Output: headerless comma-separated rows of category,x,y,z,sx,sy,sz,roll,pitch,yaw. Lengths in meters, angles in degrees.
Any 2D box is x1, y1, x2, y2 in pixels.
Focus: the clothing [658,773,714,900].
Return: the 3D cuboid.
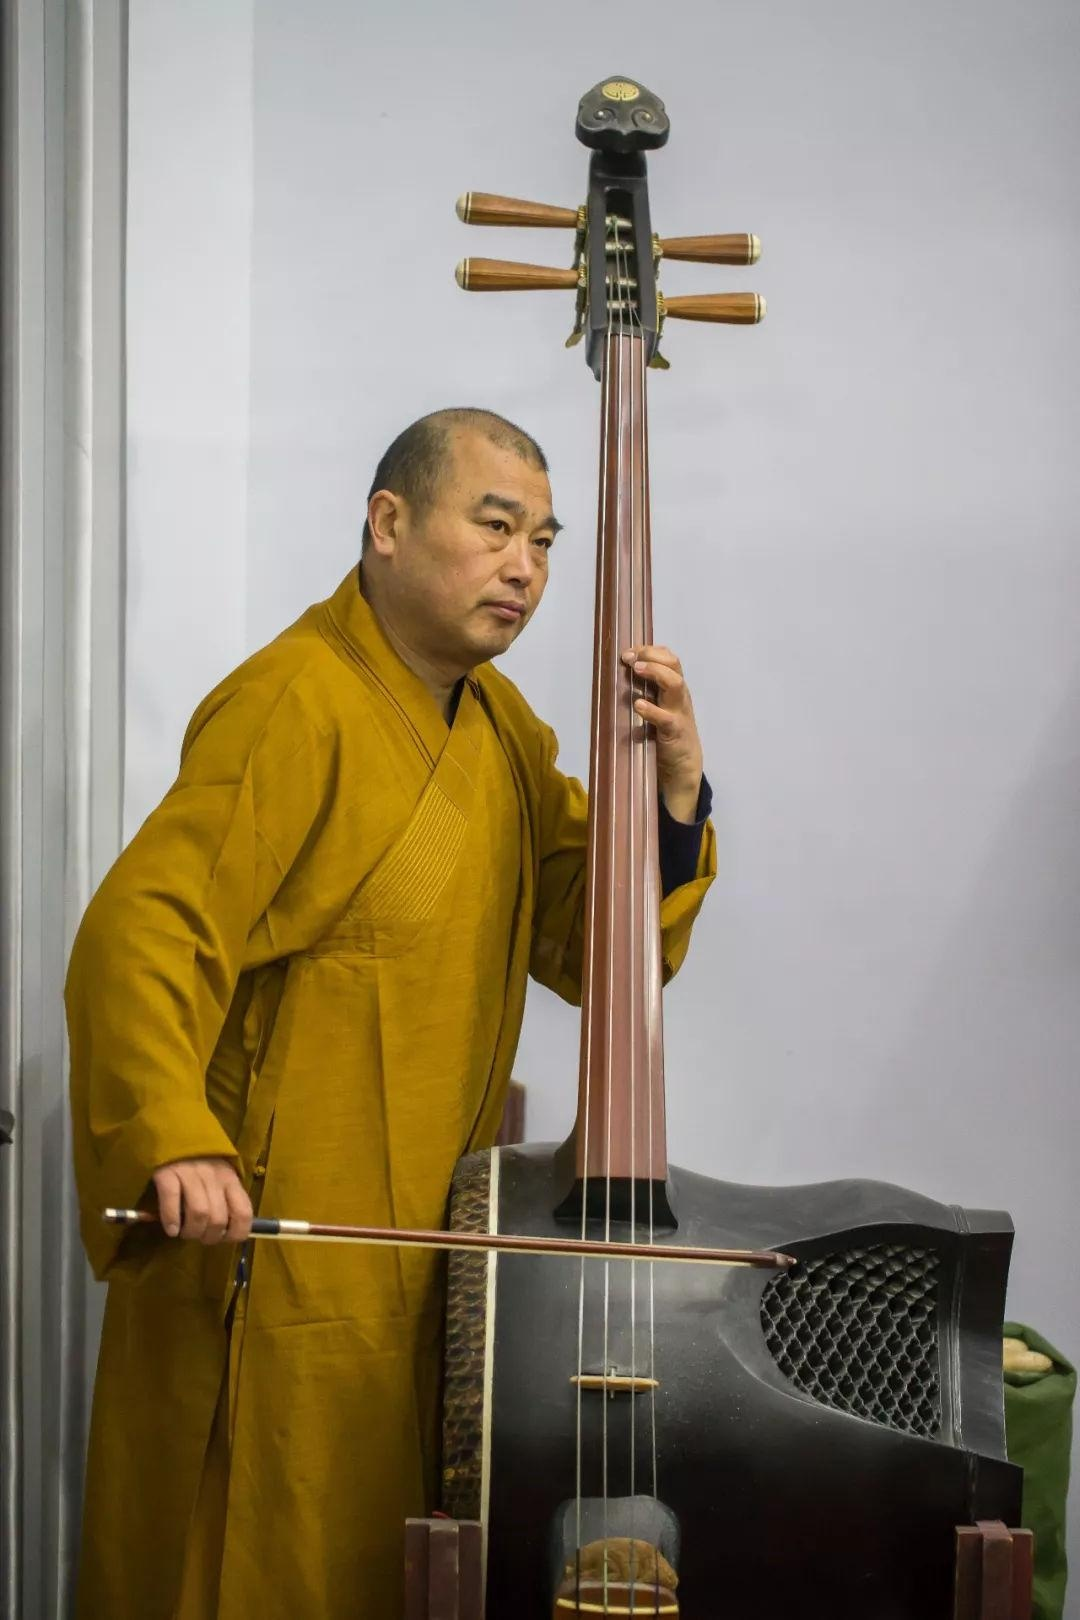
clothing,0.152,0.038,2.923,0.088,0.109,0.032,1,4,16
